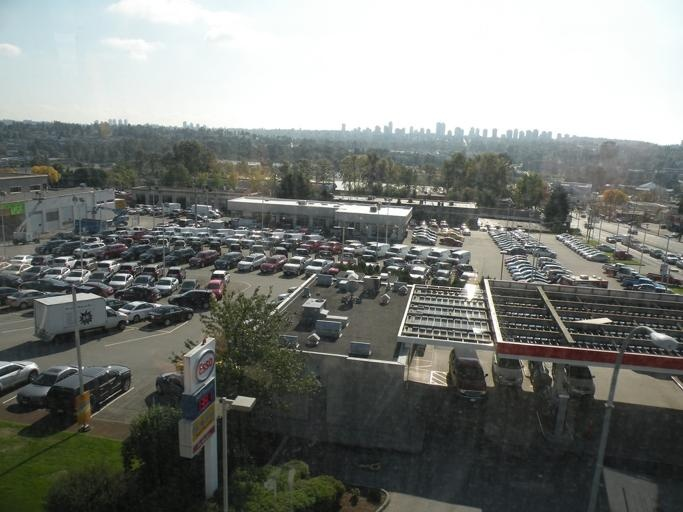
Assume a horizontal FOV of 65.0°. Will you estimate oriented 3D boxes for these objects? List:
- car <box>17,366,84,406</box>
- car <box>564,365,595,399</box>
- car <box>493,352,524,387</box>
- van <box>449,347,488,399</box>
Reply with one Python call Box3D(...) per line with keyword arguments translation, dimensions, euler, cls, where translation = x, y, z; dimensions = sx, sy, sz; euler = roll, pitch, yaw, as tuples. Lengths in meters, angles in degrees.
Box3D(translation=(-13.753, 6.120, 25.642), dimensions=(1.306, 1.055, 2.966), euler=(7, 23, 8), cls="car")
Box3D(translation=(11.970, 6.496, 26.980), dimensions=(1.292, 1.302, 2.334), euler=(-1, 8, 17), cls="car")
Box3D(translation=(8.841, 6.285, 28.134), dimensions=(1.581, 1.599, 3.076), euler=(-1, 7, 12), cls="car")
Box3D(translation=(6.518, 6.052, 28.180), dimensions=(1.472, 1.541, 3.290), euler=(1, 14, 4), cls="van")
